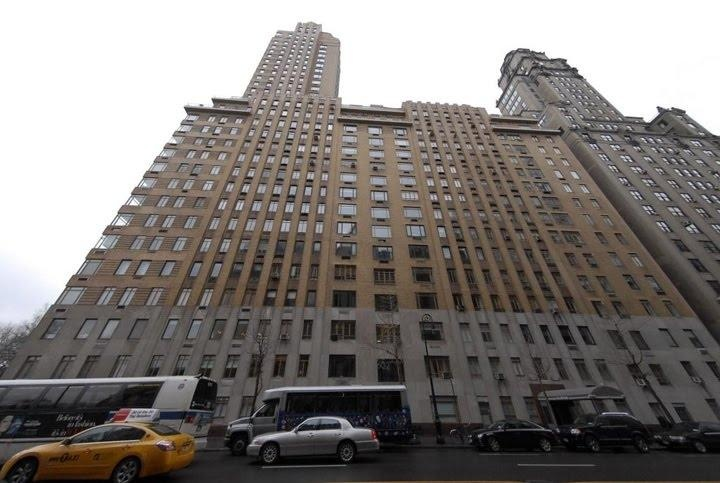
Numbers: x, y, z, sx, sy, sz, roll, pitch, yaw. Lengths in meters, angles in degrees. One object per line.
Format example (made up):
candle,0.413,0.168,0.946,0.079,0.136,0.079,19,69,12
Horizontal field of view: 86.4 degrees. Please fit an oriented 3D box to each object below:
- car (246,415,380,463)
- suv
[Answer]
car,-2.863,13.227,26.060,9.016,2.314,3.005,1,-45,0
suv,19.379,15.279,30.479,6.313,2.824,1.717,3,-34,-9
